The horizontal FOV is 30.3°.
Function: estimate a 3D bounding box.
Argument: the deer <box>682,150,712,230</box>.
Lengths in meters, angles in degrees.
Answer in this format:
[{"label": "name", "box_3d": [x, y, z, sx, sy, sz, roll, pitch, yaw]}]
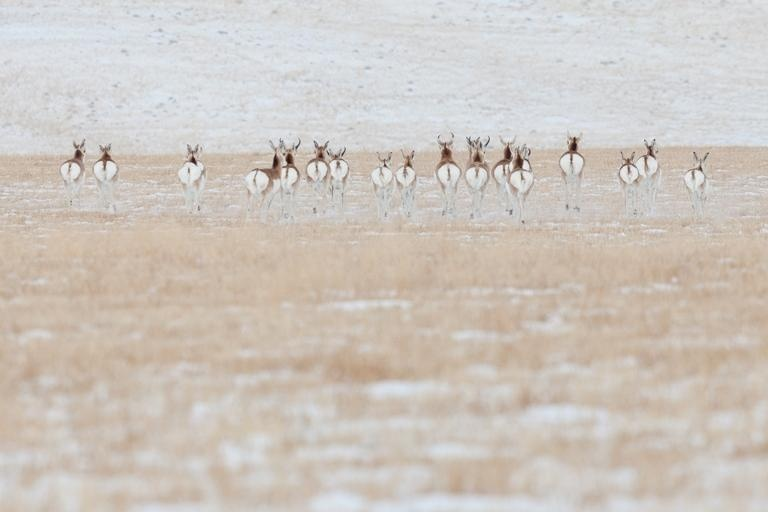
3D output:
[{"label": "deer", "box_3d": [7.402, -1.642, 33.860, 0.508, 1.451, 1.836, 1, 13, 13]}]

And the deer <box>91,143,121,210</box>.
[{"label": "deer", "box_3d": [-7.020, -1.989, 35.646, 0.621, 1.460, 2.278, -2, 8, -9]}]

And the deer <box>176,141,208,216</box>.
[{"label": "deer", "box_3d": [-4.659, -1.835, 34.128, 0.599, 1.683, 1.768, -4, 13, -8]}]
